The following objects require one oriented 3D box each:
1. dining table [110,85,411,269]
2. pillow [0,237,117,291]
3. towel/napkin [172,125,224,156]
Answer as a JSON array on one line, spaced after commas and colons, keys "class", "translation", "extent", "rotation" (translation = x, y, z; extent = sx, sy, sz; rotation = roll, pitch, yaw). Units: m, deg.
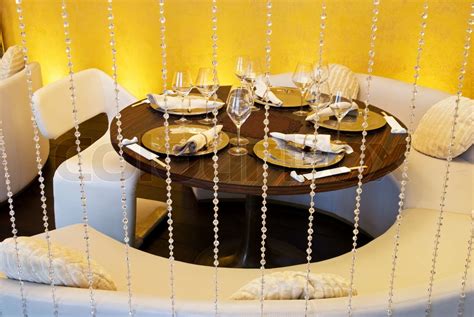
[{"class": "dining table", "translation": [0.191, 0.018, 2.348], "extent": [1.196, 0.723, 1.172], "rotation": [1, 29, -1]}, {"class": "pillow", "translation": [-0.706, 0.425, 1.546], "extent": [0.408, 0.220, 0.195], "rotation": [4, 12, 15]}, {"class": "towel/napkin", "translation": [-0.163, -0.126, 2.012], "extent": [0.114, 0.077, 0.370], "rotation": [16, 32, 32]}]
